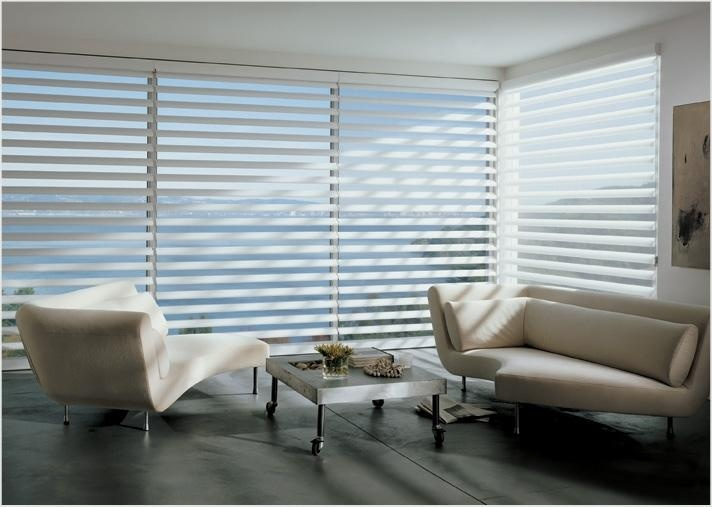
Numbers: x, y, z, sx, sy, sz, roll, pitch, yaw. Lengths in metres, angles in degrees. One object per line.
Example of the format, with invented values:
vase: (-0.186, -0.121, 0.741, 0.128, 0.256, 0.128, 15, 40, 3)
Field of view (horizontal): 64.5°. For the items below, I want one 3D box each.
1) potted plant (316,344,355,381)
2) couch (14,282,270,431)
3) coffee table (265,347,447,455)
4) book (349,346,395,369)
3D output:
potted plant: (-0.139, 0.792, 4.190, 0.346, 0.209, 0.271, 1, -1, -11)
couch: (-1.601, 0.831, 4.520, 1.072, 0.632, 1.443, 3, 0, 28)
coffee table: (-0.002, 1.084, 4.301, 1.185, 0.481, 0.956, -1, 7, -13)
book: (0.118, 0.829, 4.440, 0.442, 0.063, 0.348, 1, -2, -18)
